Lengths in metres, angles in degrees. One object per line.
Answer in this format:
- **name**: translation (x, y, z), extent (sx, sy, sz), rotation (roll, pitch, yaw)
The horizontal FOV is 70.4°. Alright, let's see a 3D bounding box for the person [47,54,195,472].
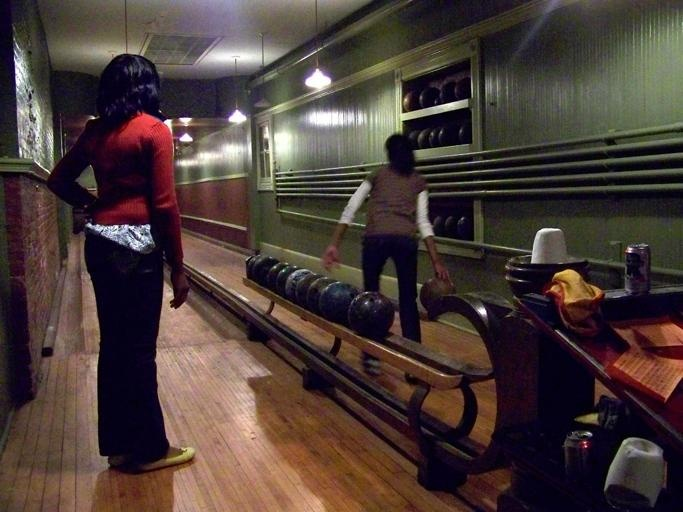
- **person**: translation (-1.141, 0.079, 2.559), extent (0.697, 2.219, 0.365), rotation (2, 8, 20)

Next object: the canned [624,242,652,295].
- **canned**: translation (1.130, 0.040, 1.849), extent (0.085, 0.176, 0.198), rotation (4, 9, 33)

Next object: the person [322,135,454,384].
- **person**: translation (0.379, -0.146, 3.701), extent (0.887, 1.578, 0.599), rotation (1, 7, 9)
